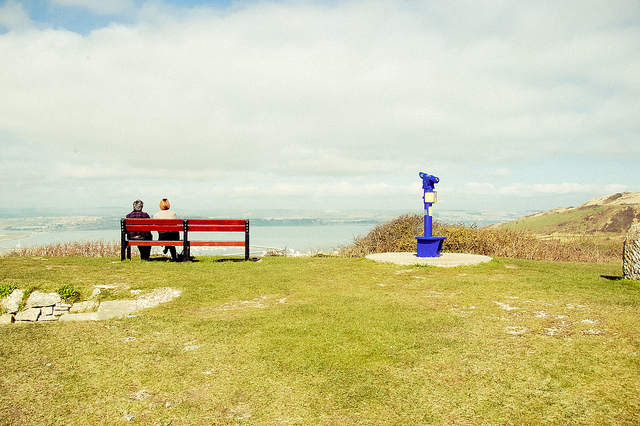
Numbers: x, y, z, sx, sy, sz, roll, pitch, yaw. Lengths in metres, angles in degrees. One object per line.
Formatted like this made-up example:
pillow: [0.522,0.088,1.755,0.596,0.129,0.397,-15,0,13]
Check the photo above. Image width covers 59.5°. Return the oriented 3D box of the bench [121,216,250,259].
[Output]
bench: [-4.452,0.924,18.770,4.152,1.338,1.172,0,-2,-5]
